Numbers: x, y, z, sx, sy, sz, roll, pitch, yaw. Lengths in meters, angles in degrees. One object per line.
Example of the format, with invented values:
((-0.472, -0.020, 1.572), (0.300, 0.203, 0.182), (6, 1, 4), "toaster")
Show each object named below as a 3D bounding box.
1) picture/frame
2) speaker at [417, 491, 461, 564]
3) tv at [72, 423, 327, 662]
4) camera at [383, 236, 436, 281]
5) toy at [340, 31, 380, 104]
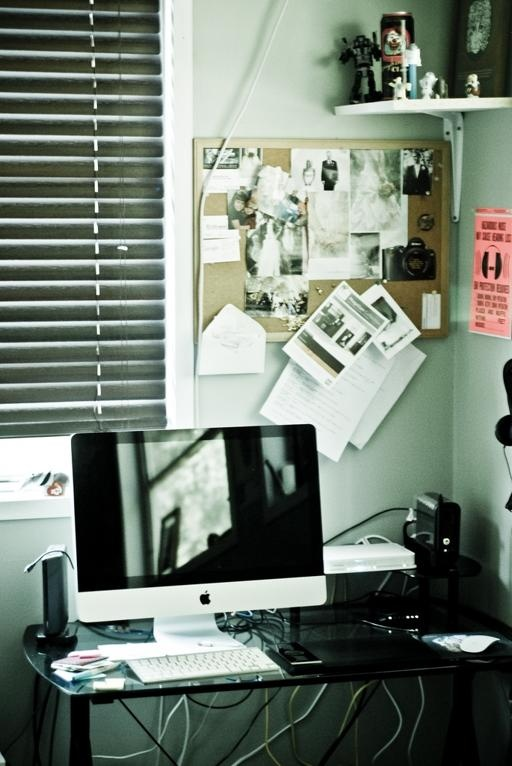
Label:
((0.125, -0.337, 1.544), (0.432, 0.362, 0.020), (-1, 4, -5), "picture/frame")
((0.373, 0.301, 1.410), (0.053, 0.139, 0.142), (0, -1, -6), "speaker")
((-0.107, 0.288, 1.254), (0.361, 0.338, 0.098), (-1, -2, -16), "tv")
((0.354, -0.270, 1.622), (0.141, 0.127, 0.089), (0, 1, -12), "camera")
((0.225, -0.682, 1.490), (0.088, 0.150, 0.083), (-1, 11, 7), "toy")
